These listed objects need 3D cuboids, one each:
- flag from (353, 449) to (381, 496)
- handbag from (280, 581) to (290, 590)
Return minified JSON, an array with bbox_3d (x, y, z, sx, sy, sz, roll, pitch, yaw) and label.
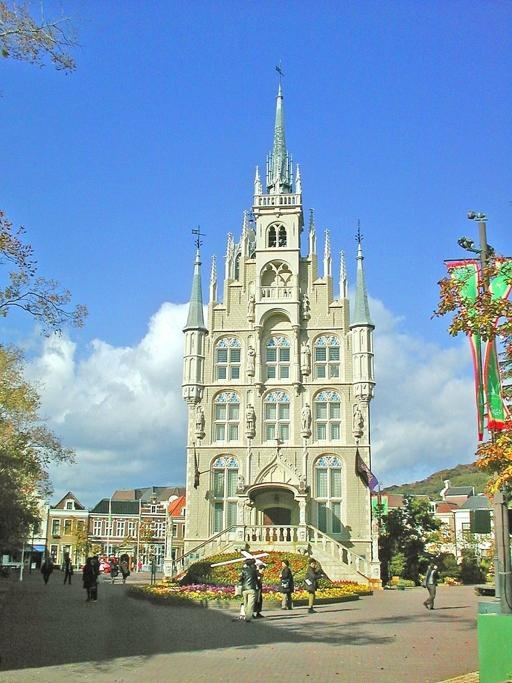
[{"bbox_3d":[5.528,6.448,39.633,1.132,0.278,2.820,-2,-54,24],"label":"flag"},{"bbox_3d":[0.838,7.183,22.844,0.220,0.210,0.130,-2,-16,4],"label":"handbag"}]
